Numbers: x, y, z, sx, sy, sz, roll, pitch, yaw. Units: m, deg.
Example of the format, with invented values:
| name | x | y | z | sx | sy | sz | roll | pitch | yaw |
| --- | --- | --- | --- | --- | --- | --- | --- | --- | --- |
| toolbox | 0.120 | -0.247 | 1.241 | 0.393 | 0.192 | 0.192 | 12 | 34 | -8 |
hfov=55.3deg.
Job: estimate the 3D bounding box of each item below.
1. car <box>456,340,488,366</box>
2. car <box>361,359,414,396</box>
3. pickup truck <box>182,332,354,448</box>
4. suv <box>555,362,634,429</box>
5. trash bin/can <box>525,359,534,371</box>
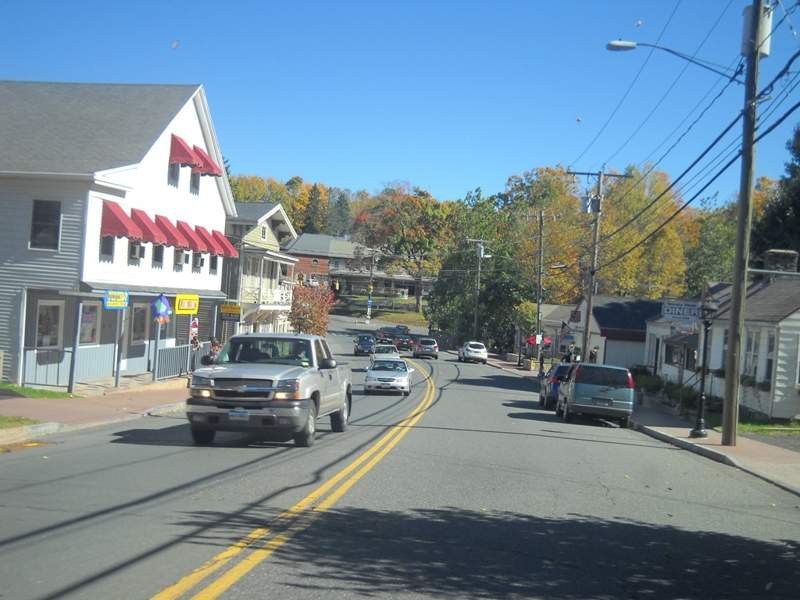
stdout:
| name | x | y | z | sx | sy | sz | roll | pitch | yaw |
| --- | --- | --- | --- | --- | --- | --- | --- | --- | --- |
| car | 5.877 | 4.277 | 62.540 | 1.905 | 1.831 | 3.061 | 3 | -7 | -23 |
| car | -0.557 | 3.147 | 31.746 | 1.848 | 1.567 | 2.467 | 1 | -6 | -3 |
| pickup truck | -2.613 | 1.932 | 16.805 | 1.897 | 1.529 | 3.589 | 0 | -6 | 8 |
| suv | 6.228 | 2.862 | 24.532 | 1.448 | 1.401 | 2.833 | 2 | 0 | 0 |
| trash bin/can | 9.504 | 4.770 | 56.584 | 0.770 | 0.856 | 0.596 | 3 | 9 | 8 |
